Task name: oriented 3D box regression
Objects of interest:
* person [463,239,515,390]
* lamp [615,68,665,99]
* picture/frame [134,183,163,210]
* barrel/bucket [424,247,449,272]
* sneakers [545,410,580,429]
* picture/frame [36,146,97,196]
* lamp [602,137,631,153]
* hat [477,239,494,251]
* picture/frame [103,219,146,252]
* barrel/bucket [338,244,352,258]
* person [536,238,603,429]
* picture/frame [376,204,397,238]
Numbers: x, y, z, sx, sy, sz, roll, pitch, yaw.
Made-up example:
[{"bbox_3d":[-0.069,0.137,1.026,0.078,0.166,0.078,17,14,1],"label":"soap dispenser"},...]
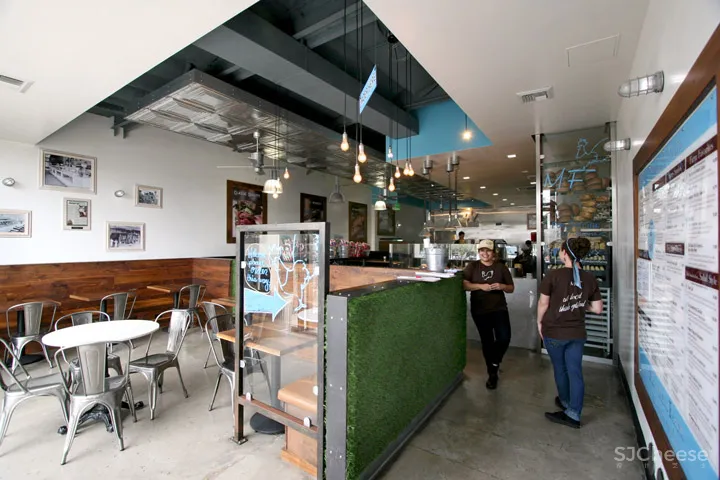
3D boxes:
[{"bbox_3d":[1.674,0.943,5.630,0.612,1.920,0.315,-3,0,16],"label":"person"},{"bbox_3d":[2.608,-1.433,4.021,0.365,0.237,0.213,-3,0,37],"label":"lamp"},{"bbox_3d":[-4.092,-0.838,8.331,0.043,0.448,0.540,-4,-6,36],"label":"picture/frame"},{"bbox_3d":[0.901,0.226,5.223,0.299,0.296,0.274,1,-11,0],"label":"barrel/bucket"},{"bbox_3d":[2.255,2.001,4.846,0.137,0.141,0.347,8,-2,-39],"label":"sneakers"},{"bbox_3d":[-5.034,-1.171,7.383,0.959,0.868,0.093,0,-4,-44],"label":"picture/frame"},{"bbox_3d":[3.111,-1.153,5.263,0.245,0.166,0.477,-3,-1,26],"label":"lamp"},{"bbox_3d":[1.654,0.064,5.672,0.179,0.136,0.214,-3,0,15],"label":"hat"},{"bbox_3d":[-4.392,-0.078,8.019,0.058,0.554,0.612,-2,-4,43],"label":"picture/frame"},{"bbox_3d":[-0.372,0.214,8.558,0.260,0.294,0.265,2,2,0],"label":"barrel/bucket"},{"bbox_3d":[2.320,1.022,4.798,0.627,2.071,0.284,-3,0,26],"label":"person"},{"bbox_3d":[0.831,-0.648,14.201,0.955,1.236,0.157,0,-1,-41],"label":"picture/frame"}]
